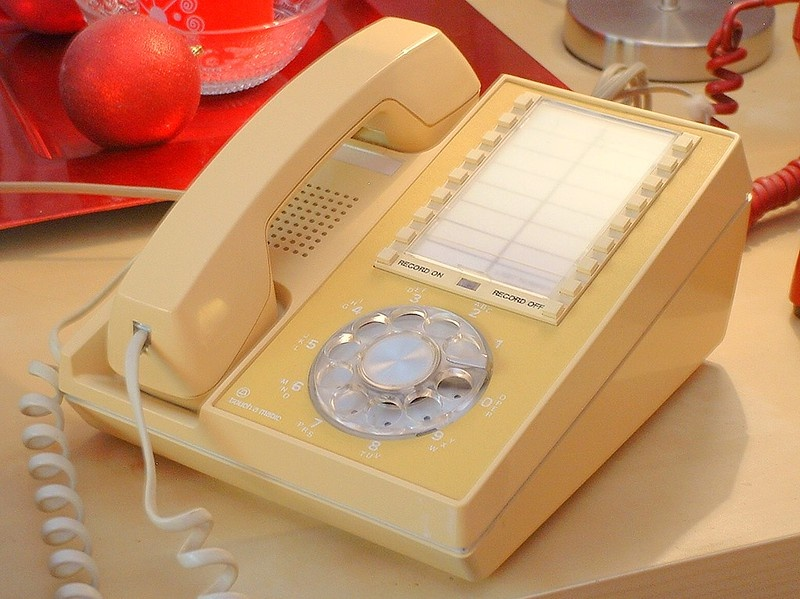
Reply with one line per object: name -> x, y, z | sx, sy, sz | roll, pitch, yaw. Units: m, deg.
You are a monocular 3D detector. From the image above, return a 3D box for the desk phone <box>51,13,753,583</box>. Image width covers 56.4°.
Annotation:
desk phone -> 0.043, -0.006, 0.555 | 0.407, 0.377, 0.226 | -46, -40, -33

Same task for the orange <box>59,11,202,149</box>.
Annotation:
orange -> -0.278, -0.224, 0.766 | 0.115, 0.157, 0.131 | 5, 18, -8
